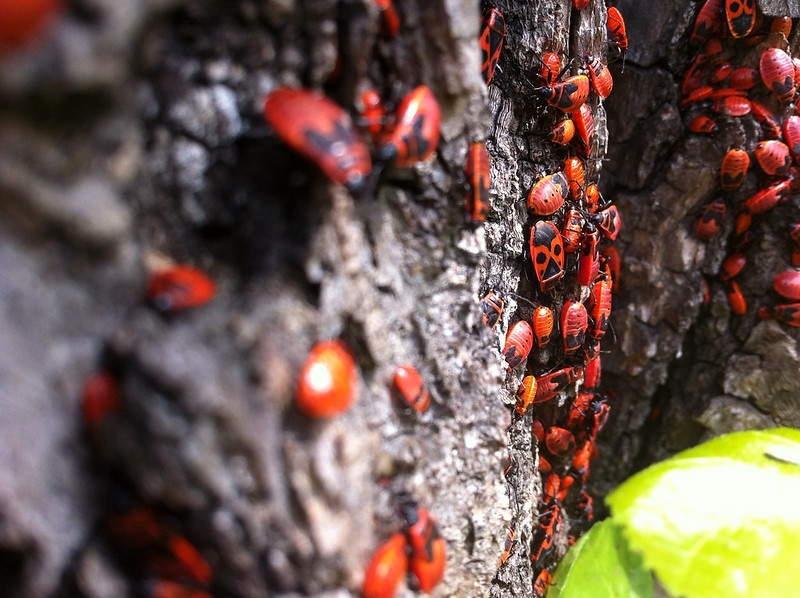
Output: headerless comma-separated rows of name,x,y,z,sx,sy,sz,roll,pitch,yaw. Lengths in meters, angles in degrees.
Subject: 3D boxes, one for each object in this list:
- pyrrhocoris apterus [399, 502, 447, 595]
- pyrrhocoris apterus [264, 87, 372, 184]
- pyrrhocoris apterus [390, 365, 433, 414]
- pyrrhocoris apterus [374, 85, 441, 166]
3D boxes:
pyrrhocoris apterus,0.103,1.061,4.064,0.186,0.372,0.100,3,-9,-42
pyrrhocoris apterus,-0.319,-0.681,3.814,0.278,0.478,0.161,-43,0,-24
pyrrhocoris apterus,0.055,0.408,4.186,0.055,0.212,0.142,-10,25,42
pyrrhocoris apterus,0.050,-0.716,3.956,0.090,0.332,0.239,15,-1,-29
